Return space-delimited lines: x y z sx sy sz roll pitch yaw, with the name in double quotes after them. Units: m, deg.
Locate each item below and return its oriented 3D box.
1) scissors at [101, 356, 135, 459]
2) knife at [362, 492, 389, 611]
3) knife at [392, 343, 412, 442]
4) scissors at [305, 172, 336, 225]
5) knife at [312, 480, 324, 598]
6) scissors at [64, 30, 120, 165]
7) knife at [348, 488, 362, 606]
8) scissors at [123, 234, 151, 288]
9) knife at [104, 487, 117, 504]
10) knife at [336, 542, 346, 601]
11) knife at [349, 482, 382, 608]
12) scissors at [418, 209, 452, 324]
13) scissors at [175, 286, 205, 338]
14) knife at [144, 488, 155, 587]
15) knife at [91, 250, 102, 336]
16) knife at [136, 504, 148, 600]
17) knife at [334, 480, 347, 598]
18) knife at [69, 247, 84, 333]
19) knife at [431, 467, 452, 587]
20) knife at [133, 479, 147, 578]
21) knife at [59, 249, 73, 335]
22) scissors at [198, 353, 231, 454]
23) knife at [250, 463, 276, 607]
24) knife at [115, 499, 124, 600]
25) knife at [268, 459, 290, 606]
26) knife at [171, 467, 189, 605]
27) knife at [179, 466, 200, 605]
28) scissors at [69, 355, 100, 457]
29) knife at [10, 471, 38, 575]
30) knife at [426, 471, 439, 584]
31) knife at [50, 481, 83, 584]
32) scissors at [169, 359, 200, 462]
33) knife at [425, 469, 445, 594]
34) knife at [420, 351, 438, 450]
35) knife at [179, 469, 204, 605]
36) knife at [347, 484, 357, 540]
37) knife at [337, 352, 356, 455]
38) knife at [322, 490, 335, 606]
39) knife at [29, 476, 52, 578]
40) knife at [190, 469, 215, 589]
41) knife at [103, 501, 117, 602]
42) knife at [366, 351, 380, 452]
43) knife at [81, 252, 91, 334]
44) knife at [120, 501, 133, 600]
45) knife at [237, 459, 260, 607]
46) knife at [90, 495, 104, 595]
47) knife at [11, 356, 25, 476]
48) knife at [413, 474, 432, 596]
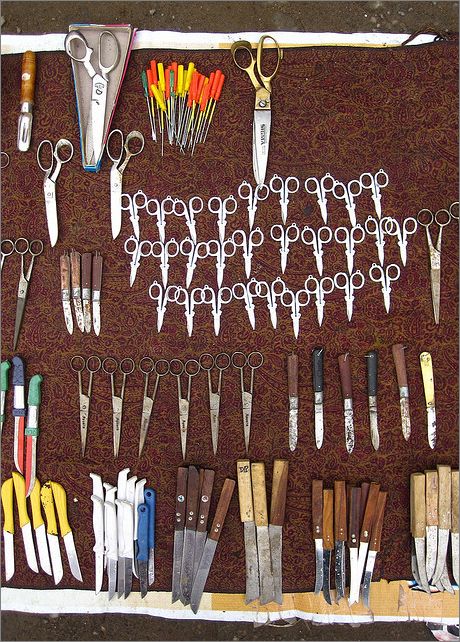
-0.417 0.316 2.355 0.117 0.014 0.362 2 78 0 "scissors"
0.510 0.815 2.328 0.063 0.062 0.489 8 86 1 "knife"
0.628 0.260 2.399 0.048 0.031 0.361 -2 78 -2 "knife"
0.332 -0.451 2.446 0.099 0.008 0.188 -5 84 1 "scissors"
0.308 0.774 2.329 0.050 0.047 0.360 -1 89 8 "knife"
-0.509 -0.821 2.373 0.182 0.057 0.525 1 88 0 "scissors"
0.437 0.800 2.315 0.042 0.051 0.397 1 88 5 "knife"
-0.367 -0.226 2.440 0.088 0.074 0.175 14 66 -1 "scissors"
-0.435 0.634 2.367 0.053 0.044 0.079 -1 88 0 "knife"
0.390 0.885 2.318 0.034 0.017 0.209 2 84 1 "knife"
0.468 0.815 2.324 0.067 0.069 0.533 8 87 -1 "knife"
0.757 -0.204 2.375 0.130 0.017 0.421 0 83 2 "scissors"
-0.151 -0.033 2.410 0.119 0.016 0.220 0 58 -3 "scissors"
-0.296 0.789 2.347 0.049 0.018 0.366 -3 76 12 "knife"
-0.495 -0.100 2.415 0.035 0.056 0.284 0 90 -2 "knife"
-0.319 0.821 2.320 0.040 0.016 0.322 0 95 7 "knife"
0.386 0.777 2.320 0.048 0.051 0.397 0 89 4 "knife"
-0.568 -0.112 2.412 0.041 0.041 0.323 -2 92 1 "knife"
0.749 0.741 2.328 0.064 0.053 0.429 0 88 4 "knife"
-0.322 0.815 2.404 0.047 0.018 0.354 4 111 2 "knife"
-0.593 -0.108 2.414 0.040 0.049 0.307 -3 94 0 "knife"
-0.060 0.304 2.375 0.114 0.013 0.356 0 80 3 "scissors"
0.112 0.764 2.327 0.070 0.042 0.505 -3 87 1 "knife"
-0.399 0.828 2.343 0.041 0.013 0.303 -1 91 8 "knife"
0.177 0.750 2.326 0.064 0.064 0.509 1 88 3 "knife"
-0.184 0.764 2.326 0.052 0.029 0.471 1 89 10 "knife"
-0.141 0.755 2.331 0.062 0.058 0.481 1 86 5 "knife"
-0.538 0.307 2.345 0.116 0.016 0.362 2 79 -1 "scissors"
-0.757 0.754 2.404 0.050 0.019 0.447 -10 110 -23 "knife"
0.707 0.736 2.322 0.052 0.043 0.353 -1 87 5 "knife"
-0.602 0.754 2.433 0.068 0.041 0.485 -10 88 5 "knife"
-0.172 0.327 2.375 0.114 0.014 0.353 0 77 2 "scissors"
0.723 0.734 2.319 0.053 0.046 0.365 -1 86 3 "knife"
0.726 0.291 2.372 0.048 0.014 0.358 0 79 2 "knife"
-0.144 0.773 2.326 0.061 0.048 0.495 2 88 6 "knife"
0.434 0.697 2.324 0.033 0.032 0.204 5 69 4 "knife"
0.416 0.301 2.368 0.048 0.041 0.366 -2 80 -1 "knife"
0.346 0.795 2.328 0.045 0.045 0.355 0 87 7 "knife"
-0.695 0.768 2.392 0.054 0.033 0.400 -4 89 11 "knife"
-0.105 0.742 2.310 0.057 0.041 0.447 4 90 3 "knife"
-0.429 0.825 2.345 0.051 0.017 0.317 -1 92 14 "knife"
0.512 0.292 2.365 0.040 0.032 0.360 -1 81 -2 "knife"
-0.533 -0.102 2.416 0.036 0.035 0.281 0 90 -1 "knife"
-0.373 0.830 2.328 0.043 0.017 0.320 0 91 8 "knife"
0.069 0.735 2.279 0.080 0.037 0.497 -2 87 1 "knife"
-0.477 0.811 2.359 0.047 0.017 0.334 -1 90 8 "knife"
-0.778 0.343 2.395 0.046 0.018 0.425 0 85 1 "knife"
0.674 0.753 2.320 0.054 0.054 0.428 -2 89 4 "knife"
